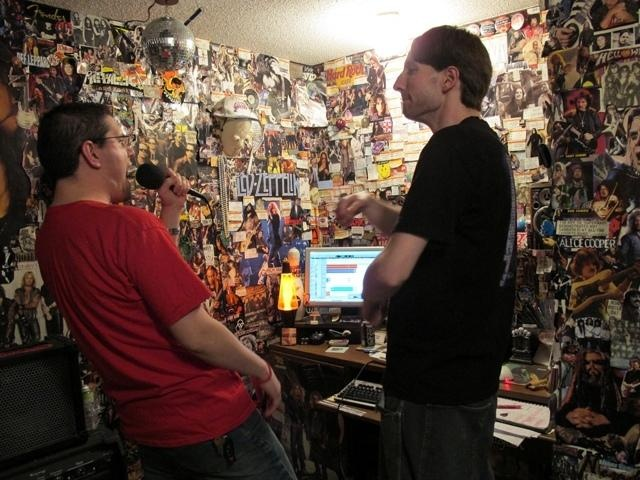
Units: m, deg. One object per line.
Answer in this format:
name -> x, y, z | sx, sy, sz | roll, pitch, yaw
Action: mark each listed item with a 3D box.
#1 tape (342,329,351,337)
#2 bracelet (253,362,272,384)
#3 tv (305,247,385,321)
tape -> 0.184, 0.639, 3.356 | 0.041, 0.025, 0.049 | -1, 11, -4
bracelet -> -0.194, 0.457, 1.699 | 0.056, 0.025, 0.078 | -28, -22, 6
tv -> 0.142, 0.266, 2.993 | 0.544, 0.384, 0.058 | -1, -7, 9
